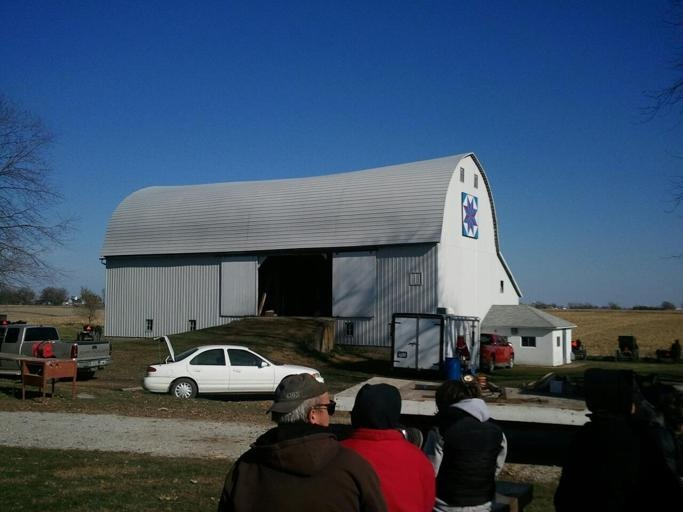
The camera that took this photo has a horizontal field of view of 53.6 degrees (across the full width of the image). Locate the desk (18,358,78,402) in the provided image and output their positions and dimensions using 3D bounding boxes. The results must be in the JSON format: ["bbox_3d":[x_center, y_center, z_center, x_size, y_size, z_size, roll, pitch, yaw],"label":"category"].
[{"bbox_3d":[-6.952,2.789,16.242,1.464,1.201,1.209,-5,-11,26],"label":"desk"}]

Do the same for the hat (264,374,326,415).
[{"bbox_3d":[-0.352,1.069,5.485,0.352,0.223,0.555,-13,8,35],"label":"hat"}]

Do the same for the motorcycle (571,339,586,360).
[{"bbox_3d":[13.778,5.416,39.352,0.726,1.062,1.104,-4,-10,17],"label":"motorcycle"}]

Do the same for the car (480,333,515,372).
[{"bbox_3d":[6.999,4.358,30.669,1.169,0.999,2.471,0,-1,31],"label":"car"}]

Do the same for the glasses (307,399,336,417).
[{"bbox_3d":[-0.176,1.221,5.427,0.185,0.059,0.186,-1,-2,15],"label":"glasses"}]
